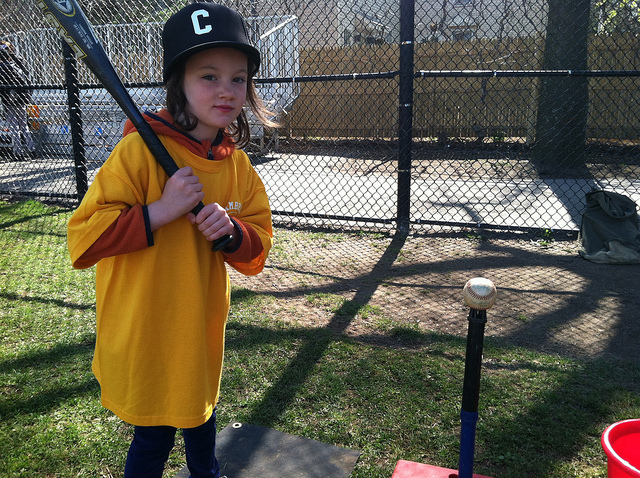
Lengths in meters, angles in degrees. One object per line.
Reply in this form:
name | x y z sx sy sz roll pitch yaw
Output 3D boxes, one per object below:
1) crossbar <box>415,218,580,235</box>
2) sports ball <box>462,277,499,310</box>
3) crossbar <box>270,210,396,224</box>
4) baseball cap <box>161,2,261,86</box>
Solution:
crossbar | 1.864 -0.139 6.103 1.672 0.094 0.274 3 13 8
sports ball | 0.730 0.256 2.575 0.170 0.159 0.131 -1 13 -10
crossbar | 0.144 -0.243 6.370 1.415 0.117 0.285 4 13 12
baseball cap | -0.494 -0.862 2.513 0.291 0.210 0.353 -14 10 -38
